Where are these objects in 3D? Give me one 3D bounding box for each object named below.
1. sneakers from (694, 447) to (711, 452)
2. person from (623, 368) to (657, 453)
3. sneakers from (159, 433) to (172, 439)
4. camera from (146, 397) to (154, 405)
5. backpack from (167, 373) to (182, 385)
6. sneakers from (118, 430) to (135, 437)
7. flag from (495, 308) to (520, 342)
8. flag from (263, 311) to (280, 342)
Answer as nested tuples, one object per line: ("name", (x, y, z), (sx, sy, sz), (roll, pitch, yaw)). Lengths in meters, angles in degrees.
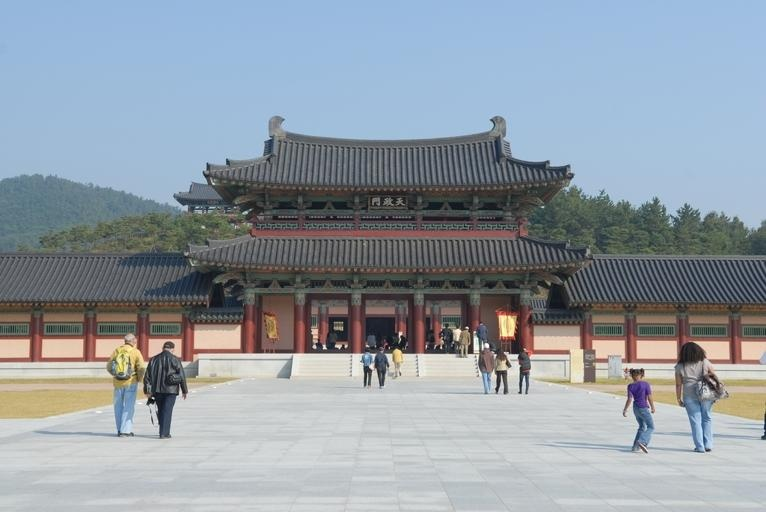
("sneakers", (10.501, 6.329, 37.992), (0.497, 0.136, 0.161), (-2, -1, 13))
("person", (8.524, 5.100, 38.400), (0.876, 2.719, 1.119), (-2, -10, 11))
("sneakers", (-7.387, 6.125, 39.566), (0.377, 0.148, 0.263), (1, -8, -10))
("camera", (-7.935, 4.972, 39.881), (0.332, 0.333, 0.122), (-3, -2, -6))
("backpack", (-7.112, 4.209, 39.880), (0.457, 0.382, 0.163), (5, -11, -30))
("sneakers", (-8.782, 6.085, 39.863), (0.621, 0.195, 0.195), (-1, -1, 1))
("flag", (6.662, 3.688, 62.055), (1.753, 1.606, 1.490), (1, -17, 0))
("flag", (-6.059, 3.791, 63.417), (0.832, 1.581, 1.959), (0, -9, -5))
